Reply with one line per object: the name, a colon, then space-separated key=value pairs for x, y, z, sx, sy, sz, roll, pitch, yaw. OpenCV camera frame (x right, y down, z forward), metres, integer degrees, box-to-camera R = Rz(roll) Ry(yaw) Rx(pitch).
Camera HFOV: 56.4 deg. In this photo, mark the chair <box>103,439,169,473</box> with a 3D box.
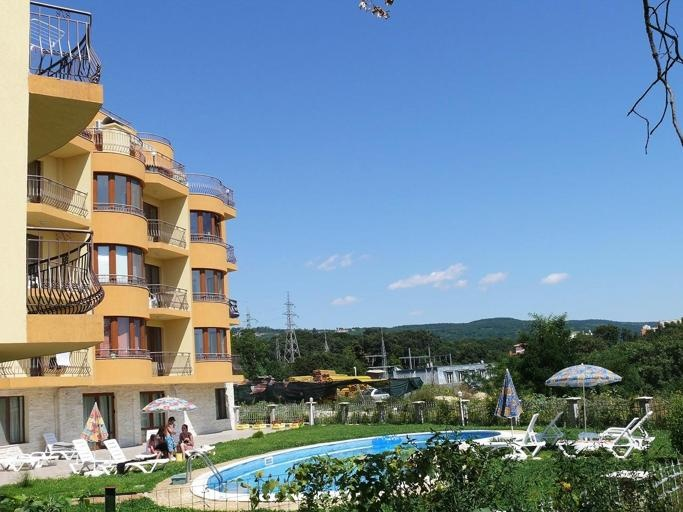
chair: x=-6.742 y=6.486 z=20.718 sx=1.668 sy=1.054 sz=2.753 roll=-1 pitch=-14 yaw=-21
